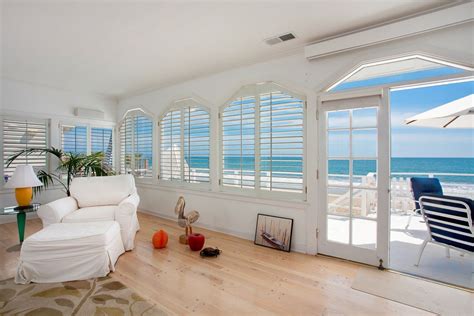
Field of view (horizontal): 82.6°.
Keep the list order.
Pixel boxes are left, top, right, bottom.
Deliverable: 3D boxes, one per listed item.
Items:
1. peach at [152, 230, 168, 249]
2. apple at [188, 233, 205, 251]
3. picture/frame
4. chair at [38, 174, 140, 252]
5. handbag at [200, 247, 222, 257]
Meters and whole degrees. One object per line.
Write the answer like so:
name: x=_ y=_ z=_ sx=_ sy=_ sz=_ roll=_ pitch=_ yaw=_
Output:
peach: x=-1.273 y=1.362 z=4.614 sx=0.314 sy=0.363 sz=0.288 roll=3 pitch=-4 yaw=-3
apple: x=-0.682 y=1.398 z=4.475 sx=0.281 sy=0.228 sz=0.267 roll=3 pitch=1 yaw=-12
picture/frame: x=0.642 y=1.279 z=4.574 sx=0.660 sy=0.527 sz=0.048 roll=4 pitch=-13 yaw=25
chair: x=-2.425 y=0.893 z=4.754 sx=1.541 sy=1.017 sz=1.488 roll=2 pitch=4 yaw=0
handbag: x=-0.420 y=1.510 z=4.337 sx=0.203 sy=0.073 sz=0.187 roll=1 pitch=-3 yaw=4
